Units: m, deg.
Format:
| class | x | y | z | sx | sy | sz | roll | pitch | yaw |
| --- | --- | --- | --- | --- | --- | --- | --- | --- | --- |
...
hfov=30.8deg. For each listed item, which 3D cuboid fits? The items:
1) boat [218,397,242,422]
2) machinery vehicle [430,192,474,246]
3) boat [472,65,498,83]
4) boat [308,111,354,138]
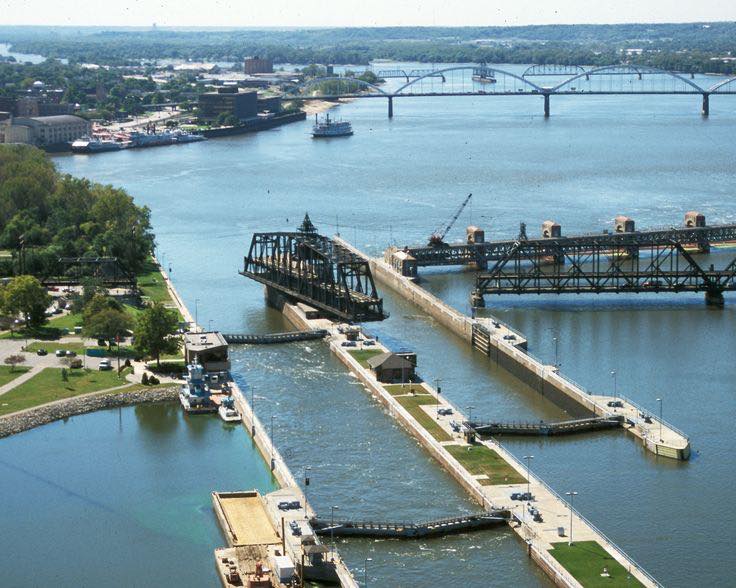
| class | x | y | z | sx | sy | sz | roll | pitch | yaw |
| --- | --- | --- | --- | --- | --- | --- | --- | --- | --- |
| boat | -7.555 | 6.304 | 72.714 | 0.688 | 0.693 | 1.982 | 1 | 20 | -12 |
| machinery vehicle | 6.920 | -6.036 | 116.247 | 1.669 | 1.843 | 25.867 | -2 | 10 | 9 |
| boat | 27.091 | -50.224 | 306.473 | 4.172 | 5.256 | 13.815 | 2 | 11 | -1 |
| boat | -5.392 | -24.396 | 195.855 | 5.326 | 2.887 | 5.936 | -2 | 11 | 5 |
